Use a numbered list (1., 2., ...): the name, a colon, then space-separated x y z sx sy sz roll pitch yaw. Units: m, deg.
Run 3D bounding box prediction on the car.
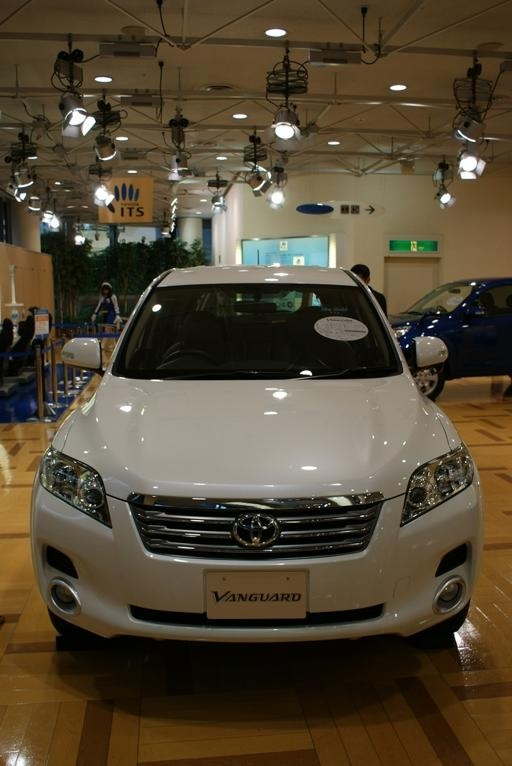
1. car: 0.023 0.031 1.971 1.008 0.827 1.748 0 1 1
